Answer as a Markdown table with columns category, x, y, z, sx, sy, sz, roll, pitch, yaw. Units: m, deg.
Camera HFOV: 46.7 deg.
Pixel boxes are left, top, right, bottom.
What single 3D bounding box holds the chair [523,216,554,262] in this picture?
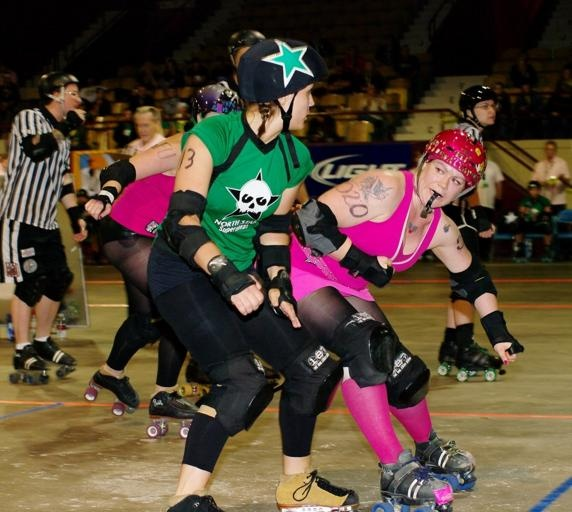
| category | x | y | z | sx | sy | sz | roll | pitch | yaw |
| --- | --- | --- | --- | --- | --- | --- | --- | --- | --- |
| chair | 4.367 | -0.303 | 11.479 | 0.491 | 0.783 | 0.393 | 5 | 6 | 18 |
